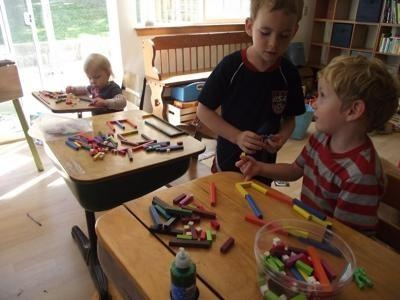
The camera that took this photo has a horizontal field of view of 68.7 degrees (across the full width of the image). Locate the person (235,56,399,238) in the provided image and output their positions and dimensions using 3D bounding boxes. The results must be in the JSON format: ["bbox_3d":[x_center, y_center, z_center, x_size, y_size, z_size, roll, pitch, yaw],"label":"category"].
[{"bbox_3d":[0.362,-0.098,1.311,0.605,0.803,0.552,0,20,5],"label":"person"}]

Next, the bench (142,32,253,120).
[{"bbox_3d":[-0.136,-0.692,2.688,1.180,0.760,0.425,-20,28,-37],"label":"bench"}]
